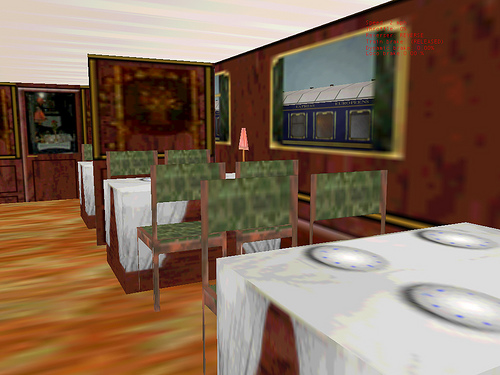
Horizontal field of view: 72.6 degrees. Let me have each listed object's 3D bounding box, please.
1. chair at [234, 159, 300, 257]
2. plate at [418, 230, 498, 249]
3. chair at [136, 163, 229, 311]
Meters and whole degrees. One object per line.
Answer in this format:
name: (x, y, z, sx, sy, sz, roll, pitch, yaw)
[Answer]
chair: (0.069, 0.247, 2.985, 0.542, 1.015, 0.564, -5, 12, -18)
plate: (0.857, 0.214, 1.400, 0.274, 0.005, 0.200, 0, 10, 1)
chair: (-0.586, 0.371, 2.712, 0.717, 1.019, 0.747, -5, -6, 0)
